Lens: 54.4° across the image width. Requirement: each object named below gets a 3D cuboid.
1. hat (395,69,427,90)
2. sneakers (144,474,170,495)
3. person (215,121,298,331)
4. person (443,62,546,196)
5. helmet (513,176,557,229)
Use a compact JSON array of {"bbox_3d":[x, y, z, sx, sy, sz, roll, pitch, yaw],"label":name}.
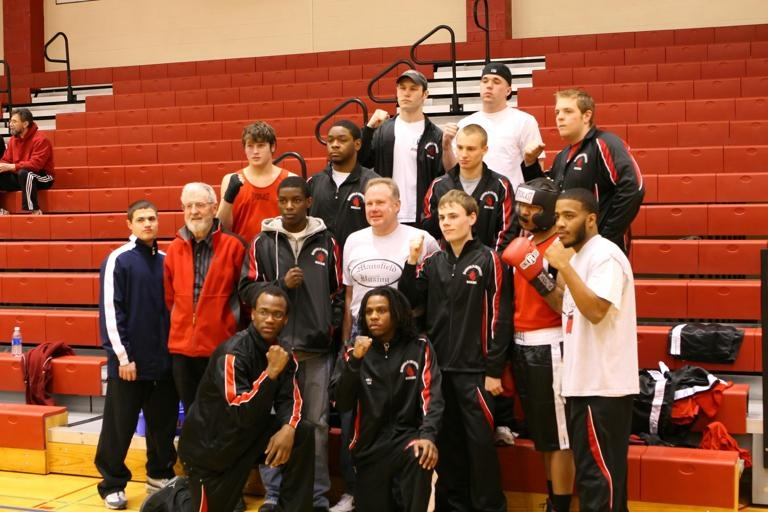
[{"bbox_3d":[0.236,-1.561,6.581,0.250,0.196,0.389,-1,4,0],"label":"hat"},{"bbox_3d":[-1.882,1.921,6.315,0.310,0.143,0.104,-2,5,-1],"label":"sneakers"},{"bbox_3d":[-1.040,-0.287,6.630,0.630,1.686,0.508,1,30,7],"label":"person"},{"bbox_3d":[0.910,-1.036,6.693,0.981,1.289,0.622,-2,10,-10],"label":"person"},{"bbox_3d":[1.187,-0.392,5.723,0.379,0.364,0.297,-2,13,-42],"label":"helmet"}]
